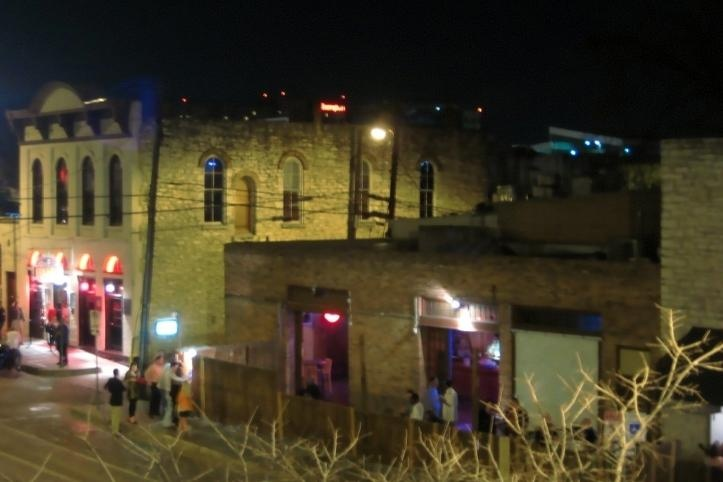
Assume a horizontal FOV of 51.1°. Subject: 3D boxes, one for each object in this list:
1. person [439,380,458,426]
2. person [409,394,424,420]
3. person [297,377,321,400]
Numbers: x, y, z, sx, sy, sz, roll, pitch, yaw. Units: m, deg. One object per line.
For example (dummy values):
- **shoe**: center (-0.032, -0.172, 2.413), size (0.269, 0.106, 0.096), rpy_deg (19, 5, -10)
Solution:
- **person**: center (2.667, 4.860, 22.793), size (0.390, 1.330, 0.670), rpy_deg (2, -5, -1)
- **person**: center (1.634, 4.895, 22.328), size (0.424, 0.727, 0.726), rpy_deg (1, -5, 5)
- **person**: center (-1.711, 4.938, 25.166), size (0.701, 0.588, 0.908), rpy_deg (2, -6, 9)
